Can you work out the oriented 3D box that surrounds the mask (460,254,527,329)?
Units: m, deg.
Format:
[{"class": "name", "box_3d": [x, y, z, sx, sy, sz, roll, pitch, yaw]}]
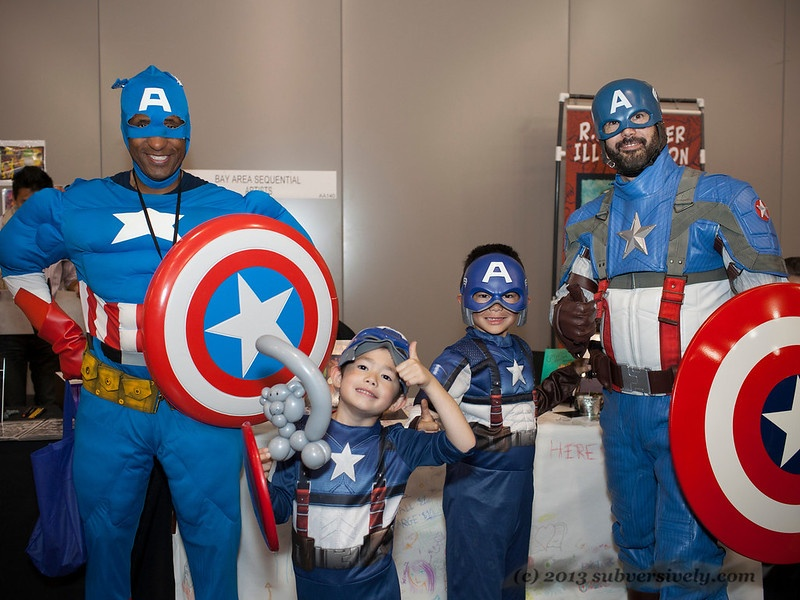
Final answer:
[{"class": "mask", "box_3d": [0.347, -0.023, 2.591, 0.214, 0.253, 0.247, 0, -6, 2]}]

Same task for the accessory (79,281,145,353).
[{"class": "accessory", "box_3d": [-0.972, 0.048, 2.343, 0.233, 0.239, 0.196, 5, 3, 5]}]

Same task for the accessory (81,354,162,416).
[{"class": "accessory", "box_3d": [-0.925, 0.291, 2.333, 0.217, 0.090, 0.175, 27, -1, -5]}]

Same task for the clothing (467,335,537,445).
[{"class": "clothing", "box_3d": [0.347, 0.328, 2.437, 0.177, 0.361, 0.331, -5, -5, 44]}]

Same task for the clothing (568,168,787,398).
[{"class": "clothing", "box_3d": [0.939, -0.041, 2.377, 0.416, 0.746, 0.718, -9, 5, -37]}]

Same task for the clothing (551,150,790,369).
[{"class": "clothing", "box_3d": [0.958, -0.135, 2.546, 0.789, 0.827, 0.396, -4, -4, 44]}]

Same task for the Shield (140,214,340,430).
[{"class": "Shield", "box_3d": [-0.543, 0.080, 2.234, 0.594, 0.680, 0.069, -6, 5, -31]}]
